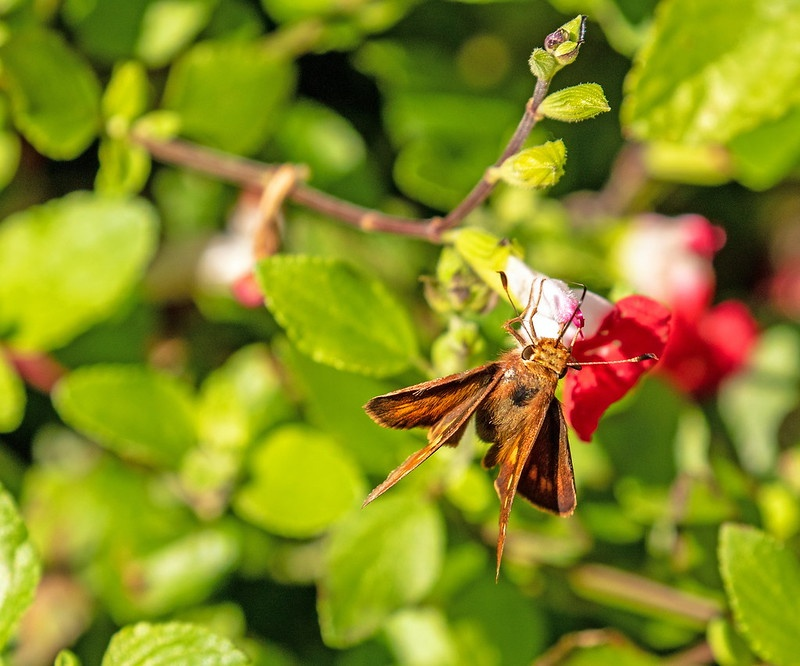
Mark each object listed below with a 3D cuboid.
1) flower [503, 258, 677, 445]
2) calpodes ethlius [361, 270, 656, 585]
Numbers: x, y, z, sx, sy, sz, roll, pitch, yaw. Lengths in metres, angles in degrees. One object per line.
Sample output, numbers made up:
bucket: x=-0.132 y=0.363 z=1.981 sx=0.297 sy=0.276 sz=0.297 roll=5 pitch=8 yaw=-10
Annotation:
flower: x=0.243 y=0.009 z=1.290 sx=0.228 sy=0.110 sz=0.281 roll=-8 pitch=31 yaw=-9
calpodes ethlius: x=0.169 y=0.019 z=1.333 sx=0.342 sy=0.248 sz=0.435 roll=29 pitch=107 yaw=10
